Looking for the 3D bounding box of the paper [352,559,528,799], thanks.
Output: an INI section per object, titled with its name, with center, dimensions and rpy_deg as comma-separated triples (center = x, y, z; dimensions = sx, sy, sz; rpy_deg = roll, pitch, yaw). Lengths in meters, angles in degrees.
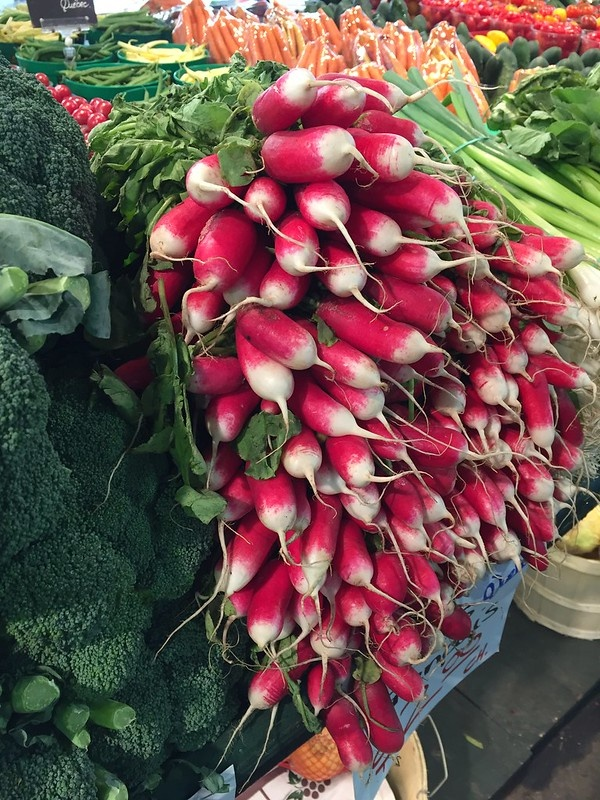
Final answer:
[paper]
center = 0.383, 0.785, 1.834
dimensions = 0.054, 1.054, 0.726
rpy_deg = 35, 81, 22
